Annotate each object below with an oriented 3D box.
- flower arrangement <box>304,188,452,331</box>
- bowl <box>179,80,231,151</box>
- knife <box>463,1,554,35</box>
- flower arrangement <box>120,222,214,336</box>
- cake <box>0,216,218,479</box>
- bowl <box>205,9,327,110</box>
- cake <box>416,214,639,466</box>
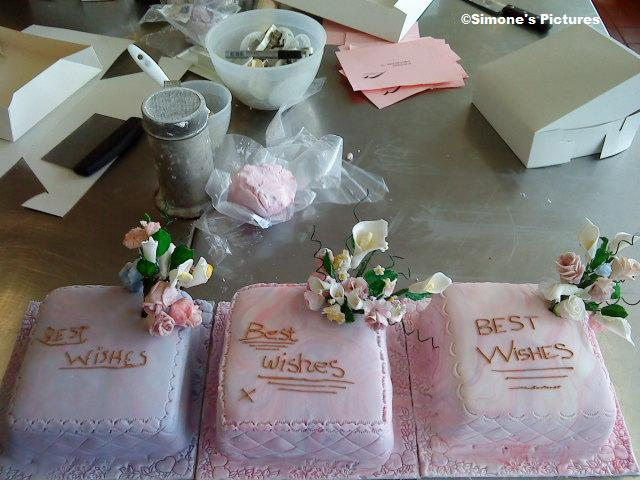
[{"bbox_3d":[0.095,0.029,0.828,0.215,0.115,0.246,9,47,8],"label":"flower arrangement"},{"bbox_3d":[-0.263,-0.295,1.194,0.118,0.126,0.162,-10,57,-12],"label":"bowl"},{"bbox_3d":[0.569,-0.659,1.485,0.065,0.043,0.323,-41,57,-21],"label":"knife"},{"bbox_3d":[-0.256,0.078,0.812,0.131,0.132,0.170,14,100,-5],"label":"flower arrangement"},{"bbox_3d":[-0.348,0.210,0.952,0.365,0.259,0.418,5,53,-6],"label":"cake"},{"bbox_3d":[-0.126,-0.426,1.255,0.251,0.152,0.275,0,42,0],"label":"bowl"},{"bbox_3d":[0.304,0.207,0.955,0.372,0.354,0.386,-3,53,0],"label":"cake"}]
